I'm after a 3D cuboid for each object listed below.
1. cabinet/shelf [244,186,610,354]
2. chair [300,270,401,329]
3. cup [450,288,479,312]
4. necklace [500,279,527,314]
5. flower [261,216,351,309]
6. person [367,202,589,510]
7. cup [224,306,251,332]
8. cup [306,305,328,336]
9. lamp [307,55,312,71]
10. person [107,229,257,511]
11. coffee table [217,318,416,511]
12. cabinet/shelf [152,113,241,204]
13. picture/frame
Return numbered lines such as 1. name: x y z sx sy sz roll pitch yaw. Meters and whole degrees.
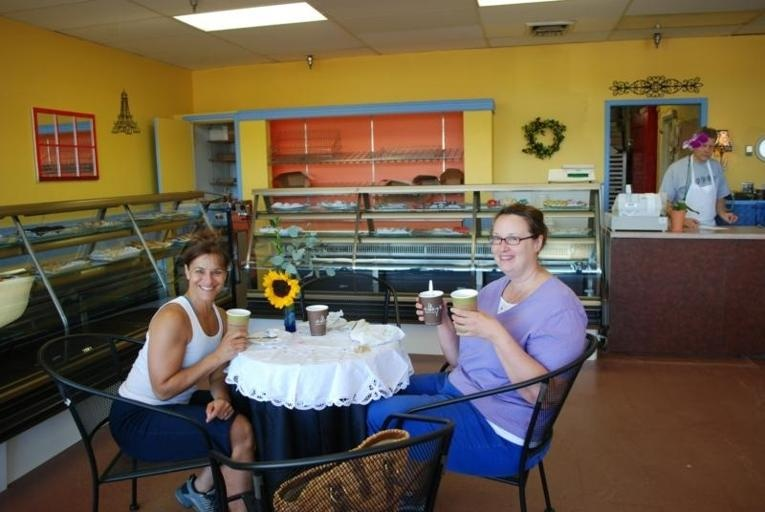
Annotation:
1. cabinet/shelf: 0.385 0.019 5.265 3.217 1.430 0.980 0 15 2
2. chair: -0.361 0.405 5.026 1.045 0.640 0.551 1 2 11
3. cup: 0.415 0.226 2.650 0.121 0.082 0.117 -1 2 0
4. necklace: 0.707 0.225 2.798 0.174 0.170 0.173 2 9 6
5. flower: -0.621 0.079 4.584 0.820 0.981 0.925 1 14 0
6. person: 0.464 0.646 2.931 1.201 1.815 0.999 8 1 -10
7. cup: -0.836 0.362 2.963 0.148 0.137 0.142 0 -3 0
8. cup: -0.376 0.384 3.141 0.169 0.156 0.163 0 -2 0
9. lamp: -1.110 -2.988 8.072 0.099 0.155 0.314 -3 12 -7
10. person: -1.071 0.658 2.786 0.727 1.453 0.724 -8 14 -27
11. coffee table: -0.431 0.939 3.035 0.848 0.800 0.842 4 4 44
12. cabinet/shelf: -2.854 -1.522 7.952 0.627 1.619 1.809 3 8 17
13. picture/frame: -4.096 -1.417 6.760 1.016 0.881 0.047 5 9 17
